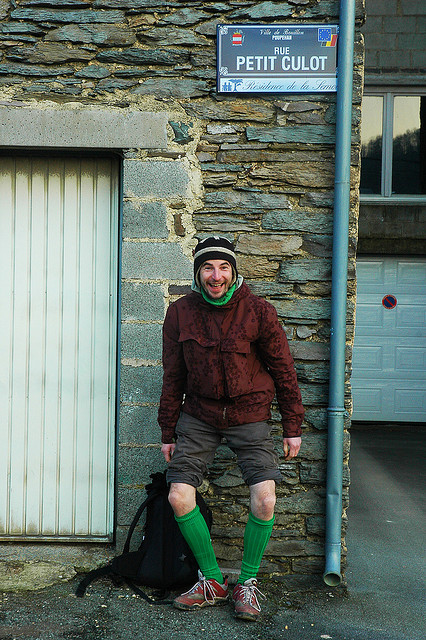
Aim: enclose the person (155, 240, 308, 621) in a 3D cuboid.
[{"bbox_3d":[0.045,0.534,4.063,0.753,1.870,0.423,5,5,9],"label":"person"}]
